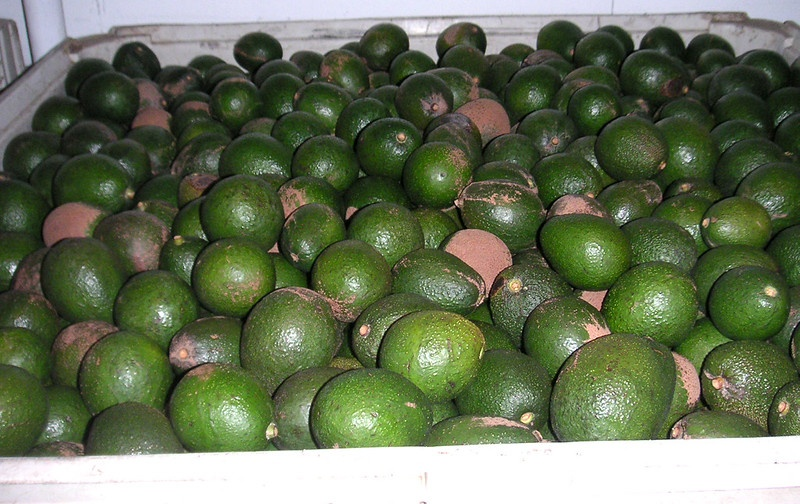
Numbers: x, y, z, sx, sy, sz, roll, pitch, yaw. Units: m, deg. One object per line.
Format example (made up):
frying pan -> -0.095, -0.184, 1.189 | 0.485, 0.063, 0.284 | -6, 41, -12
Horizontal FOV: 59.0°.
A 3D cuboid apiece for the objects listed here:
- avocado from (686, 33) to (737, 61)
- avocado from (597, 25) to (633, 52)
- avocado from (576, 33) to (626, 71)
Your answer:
avocado -> 3.959, -2.587, 8.931 | 0.502, 0.276, 0.405 | 18, 53, 14
avocado -> 2.777, -2.757, 9.074 | 0.357, 0.433, 0.254 | -14, 12, -22
avocado -> 2.288, -2.415, 8.483 | 0.451, 0.508, 0.430 | 3, 19, -10
